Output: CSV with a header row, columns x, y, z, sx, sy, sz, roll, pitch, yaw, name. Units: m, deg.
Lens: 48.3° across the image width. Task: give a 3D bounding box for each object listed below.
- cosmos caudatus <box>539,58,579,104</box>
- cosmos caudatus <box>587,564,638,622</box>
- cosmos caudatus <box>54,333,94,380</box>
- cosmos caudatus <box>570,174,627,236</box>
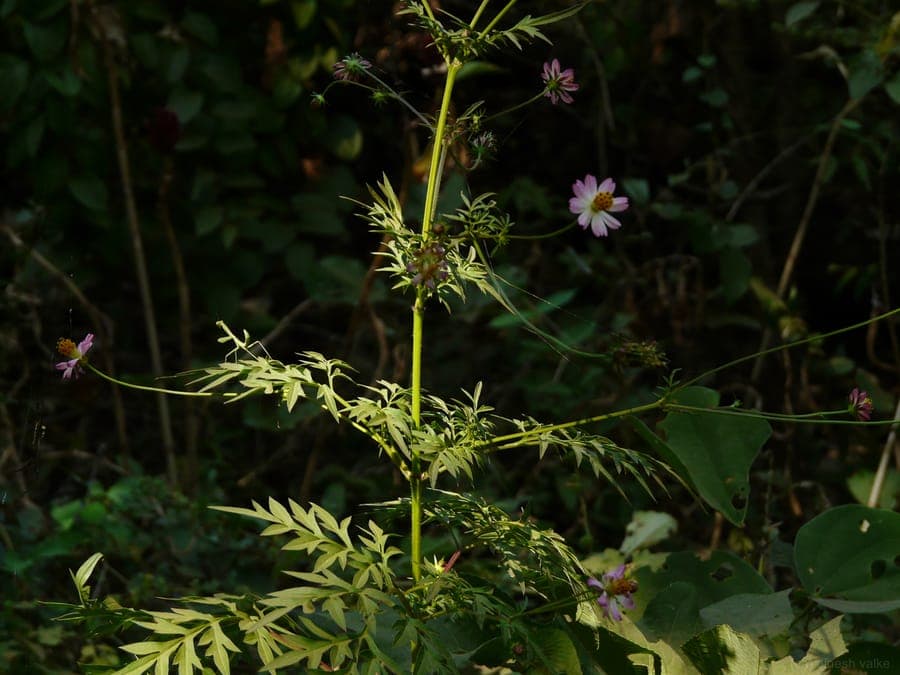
x,y,z,sx,sy,sz,roll,pitch,yaw,name
0.205,-0.507,1.985,0.080,0.088,0.044,19,83,39,cosmos caudatus
0.309,0.485,1.947,0.086,0.116,0.162,-4,42,6,cosmos caudatus
-0.833,0.041,2.192,0.064,0.102,0.105,24,66,-11,cosmos caudatus
0.293,-0.259,1.970,0.111,0.062,0.116,-6,18,-25,cosmos caudatus
